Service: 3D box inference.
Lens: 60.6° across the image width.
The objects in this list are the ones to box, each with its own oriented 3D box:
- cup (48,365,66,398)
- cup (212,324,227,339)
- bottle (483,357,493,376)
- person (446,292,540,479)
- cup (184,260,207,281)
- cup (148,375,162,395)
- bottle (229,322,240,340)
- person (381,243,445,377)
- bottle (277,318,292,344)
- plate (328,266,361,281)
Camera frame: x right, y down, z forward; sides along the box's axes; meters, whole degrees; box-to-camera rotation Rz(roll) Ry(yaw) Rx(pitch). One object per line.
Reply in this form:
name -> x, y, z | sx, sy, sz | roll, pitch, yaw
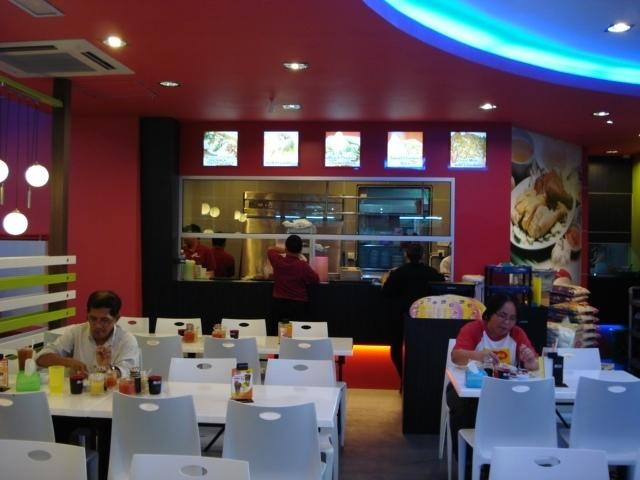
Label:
cup -> -1.679, 0.879, 3.498 | 0.090, 0.167, 0.162 | -7, 4, -27
cup -> -0.908, 0.818, 4.944 | 0.106, 0.113, 0.117 | 0, 0, 6
bottle -> 1.169, 0.874, 3.838 | 0.066, 0.116, 0.113 | 0, 2, -1
person -> 1.300, 1.064, 4.195 | 0.633, 1.245, 0.674 | 7, 2, 23
cup -> -1.731, 0.416, 7.691 | 0.336, 0.338, 0.191 | 0, -1, -3
cup -> -1.040, 0.907, 3.460 | 0.099, 0.107, 0.100 | 0, -6, 0
bottle -> -0.795, 0.850, 5.123 | 0.135, 0.153, 0.137 | 0, -7, -2
person -> 1.052, 0.785, 6.659 | 0.670, 1.655, 0.421 | -2, 30, -2
bottle -> -0.327, 0.825, 5.053 | 0.150, 0.269, 0.143 | 0, -3, 0
plate -> 0.328, 0.462, 7.405 | 0.453, 0.192, 0.112 | -6, 3, -1
